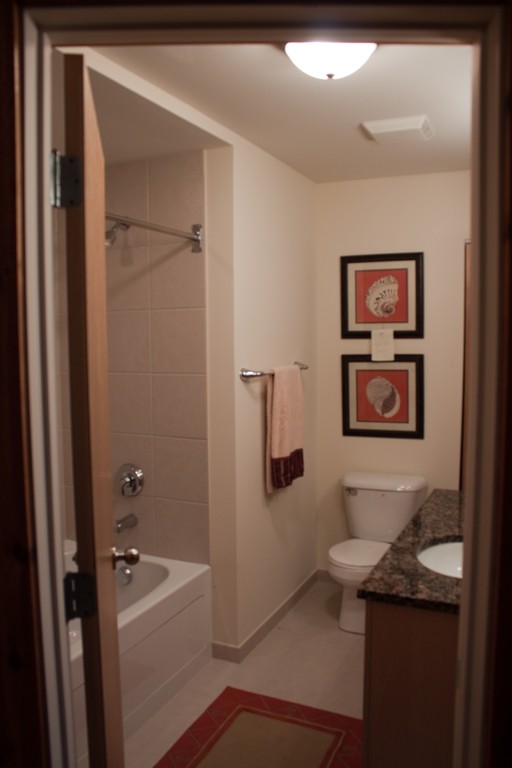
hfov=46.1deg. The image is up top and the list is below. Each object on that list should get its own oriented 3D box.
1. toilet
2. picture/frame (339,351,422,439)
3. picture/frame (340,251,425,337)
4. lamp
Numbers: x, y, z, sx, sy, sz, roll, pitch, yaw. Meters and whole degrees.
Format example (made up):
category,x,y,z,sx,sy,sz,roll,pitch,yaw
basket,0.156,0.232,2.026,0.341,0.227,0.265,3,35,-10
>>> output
category,x,y,z,sx,sy,sz,roll,pitch,yaw
toilet,0.592,0.859,3.094,0.397,0.715,0.615,5,4,29
picture/frame,0.715,0.054,3.340,0.434,0.494,0.033,1,1,27
picture/frame,0.720,-0.502,3.306,0.427,0.487,0.031,1,6,24
lamp,0.214,-0.927,1.697,0.265,0.070,0.239,-1,2,-1
